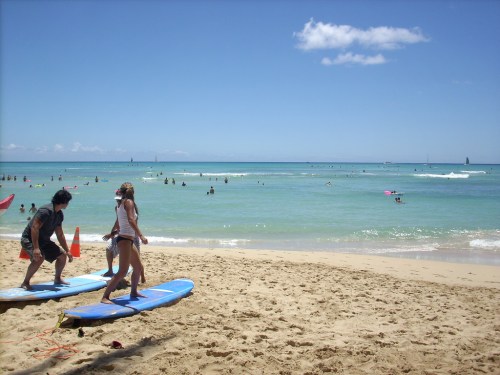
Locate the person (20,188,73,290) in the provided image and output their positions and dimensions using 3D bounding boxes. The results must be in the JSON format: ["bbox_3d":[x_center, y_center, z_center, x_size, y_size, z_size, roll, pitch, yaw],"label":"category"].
[{"bbox_3d":[-3.974,1.024,8.447,0.992,2.043,0.901,2,2,-7],"label":"person"}]

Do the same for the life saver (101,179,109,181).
[{"bbox_3d":[-17.826,-0.947,52.347,0.483,0.200,0.839,3,-3,-39],"label":"life saver"}]

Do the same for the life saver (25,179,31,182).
[{"bbox_3d":[-26.081,-0.915,50.066,0.723,0.234,0.521,10,5,42],"label":"life saver"}]

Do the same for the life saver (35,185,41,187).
[{"bbox_3d":[-20.052,-0.171,40.490,0.467,0.145,0.432,2,3,-4],"label":"life saver"}]

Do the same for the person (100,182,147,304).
[{"bbox_3d":[-2.312,1.067,8.003,0.783,2.301,0.881,2,3,-13],"label":"person"}]

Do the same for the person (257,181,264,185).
[{"bbox_3d":[1.222,-0.581,50.602,0.505,0.306,1.084,5,1,-2],"label":"person"}]
